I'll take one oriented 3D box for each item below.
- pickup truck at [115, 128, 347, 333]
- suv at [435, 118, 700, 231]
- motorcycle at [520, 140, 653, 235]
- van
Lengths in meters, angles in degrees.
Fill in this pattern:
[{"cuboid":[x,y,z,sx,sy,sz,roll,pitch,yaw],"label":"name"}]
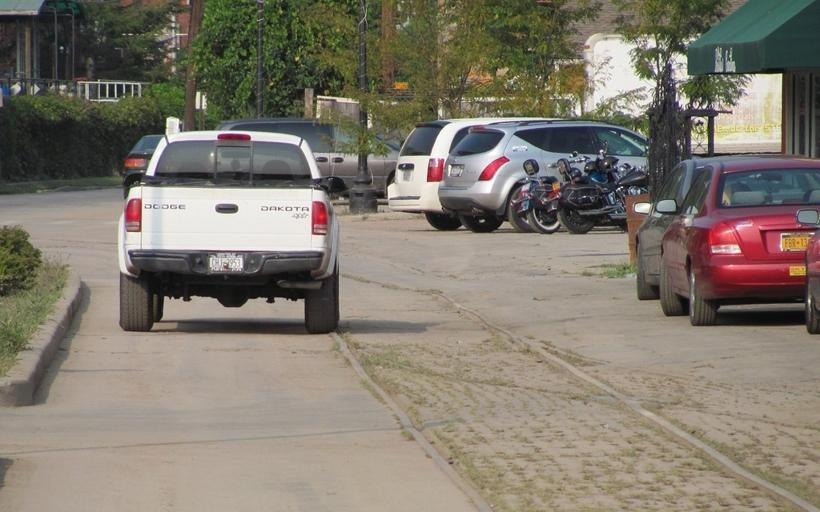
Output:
[{"cuboid":[-2.279,-0.553,14.700,1.976,1.568,3.263,0,7,-3],"label":"pickup truck"},{"cuboid":[3.302,-1.957,25.669,4.759,1.739,2.195,-8,9,-29],"label":"suv"},{"cuboid":[3.655,-1.328,24.417,2.978,1.642,1.371,-7,5,-36],"label":"motorcycle"},{"cuboid":[-2.895,-2.848,32.837,5.020,1.965,2.431,-2,6,-6],"label":"van"}]
